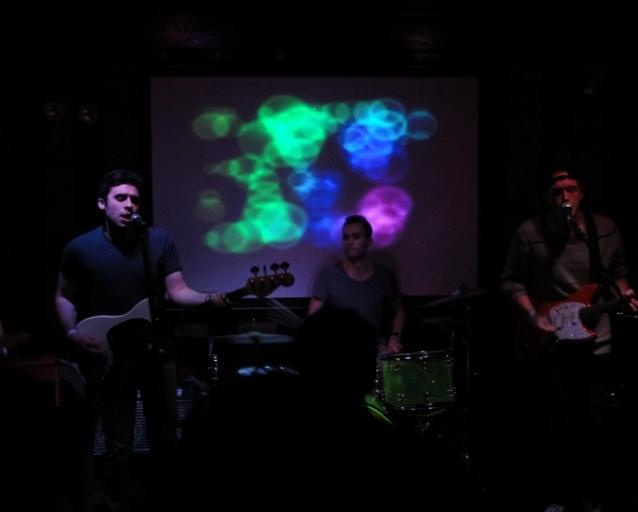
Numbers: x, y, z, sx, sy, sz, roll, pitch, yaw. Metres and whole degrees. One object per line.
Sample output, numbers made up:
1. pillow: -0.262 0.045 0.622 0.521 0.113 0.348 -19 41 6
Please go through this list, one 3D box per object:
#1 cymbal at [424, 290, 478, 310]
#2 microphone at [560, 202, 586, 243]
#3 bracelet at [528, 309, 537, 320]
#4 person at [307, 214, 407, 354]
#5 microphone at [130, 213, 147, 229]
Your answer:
1. cymbal: 0.947 0.290 4.065 0.196 0.048 0.200 -18 -7 29
2. microphone: 1.668 -0.220 3.845 0.164 0.272 0.298 4 15 22
3. bracelet: 1.500 0.410 4.096 0.042 0.058 0.045 -8 15 -24
4. person: 0.300 0.197 4.496 0.714 0.971 0.552 1 14 10
5. microphone: -1.110 -0.216 3.592 0.079 0.073 0.205 -7 15 -22
